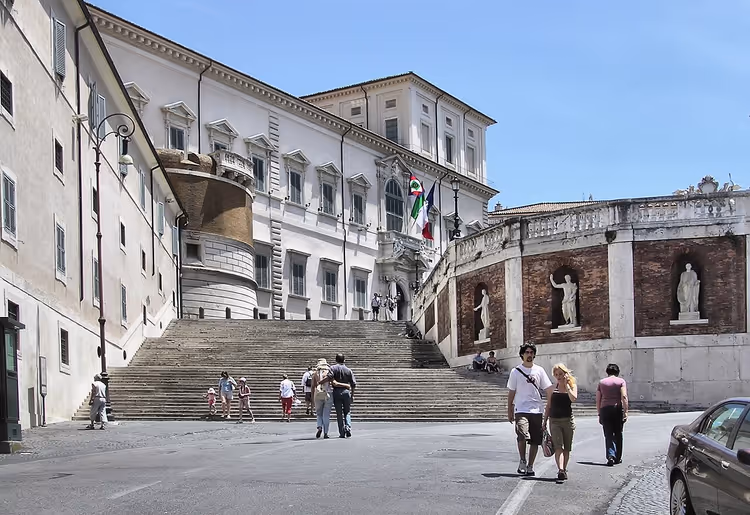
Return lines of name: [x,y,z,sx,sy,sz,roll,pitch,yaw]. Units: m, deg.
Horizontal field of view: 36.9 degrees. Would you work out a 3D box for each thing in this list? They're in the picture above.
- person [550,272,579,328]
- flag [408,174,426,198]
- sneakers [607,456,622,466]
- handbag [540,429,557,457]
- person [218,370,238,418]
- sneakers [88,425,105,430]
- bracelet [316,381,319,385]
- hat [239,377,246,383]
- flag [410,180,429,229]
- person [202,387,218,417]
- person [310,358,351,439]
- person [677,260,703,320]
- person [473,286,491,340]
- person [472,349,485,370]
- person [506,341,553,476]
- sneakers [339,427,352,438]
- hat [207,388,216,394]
person: [7.624,1.753,44.607,0.499,2.094,0.962,9,-15,-41]
flag: [2.876,-4.965,78.683,0.643,1.823,2.167,-5,-6,23]
sneakers: [5.155,4.397,24.242,0.157,0.202,0.429,-9,-14,34]
handbag: [3.437,3.681,22.264,0.243,0.463,0.396,-3,-11,8]
person: [-4.891,4.549,37.372,0.435,1.644,1.486,0,-11,-7]
sneakers: [-8.077,4.946,32.693,0.490,0.187,0.164,-2,-4,1]
bracelet: [-1.482,3.253,29.101,0.086,0.057,0.046,1,29,1]
hat: [-4.347,4.064,37.094,0.287,0.156,0.275,2,-1,-12]
flag: [2.999,-3.599,75.931,1.290,3.777,0.249,6,-34,-10]
person: [-5.505,4.866,37.547,0.743,1.099,0.441,4,-27,-22]
person: [-0.955,3.605,29.437,0.991,2.564,0.796,4,-31,9]
person: [11.956,1.358,42.929,0.816,2.143,0.341,-4,-12,14]
person: [4.597,2.405,47.940,0.389,2.292,1.126,1,-12,-9]
person: [4.230,4.289,45.767,0.568,0.828,0.603,-1,-38,3]
person: [3.128,3.071,22.762,0.846,2.643,1.468,-2,-11,6]
sneakers: [-0.764,4.573,29.351,0.159,0.271,0.402,0,-15,-8]
hat: [-5.476,4.462,37.651,0.339,0.128,0.358,0,1,-11]
